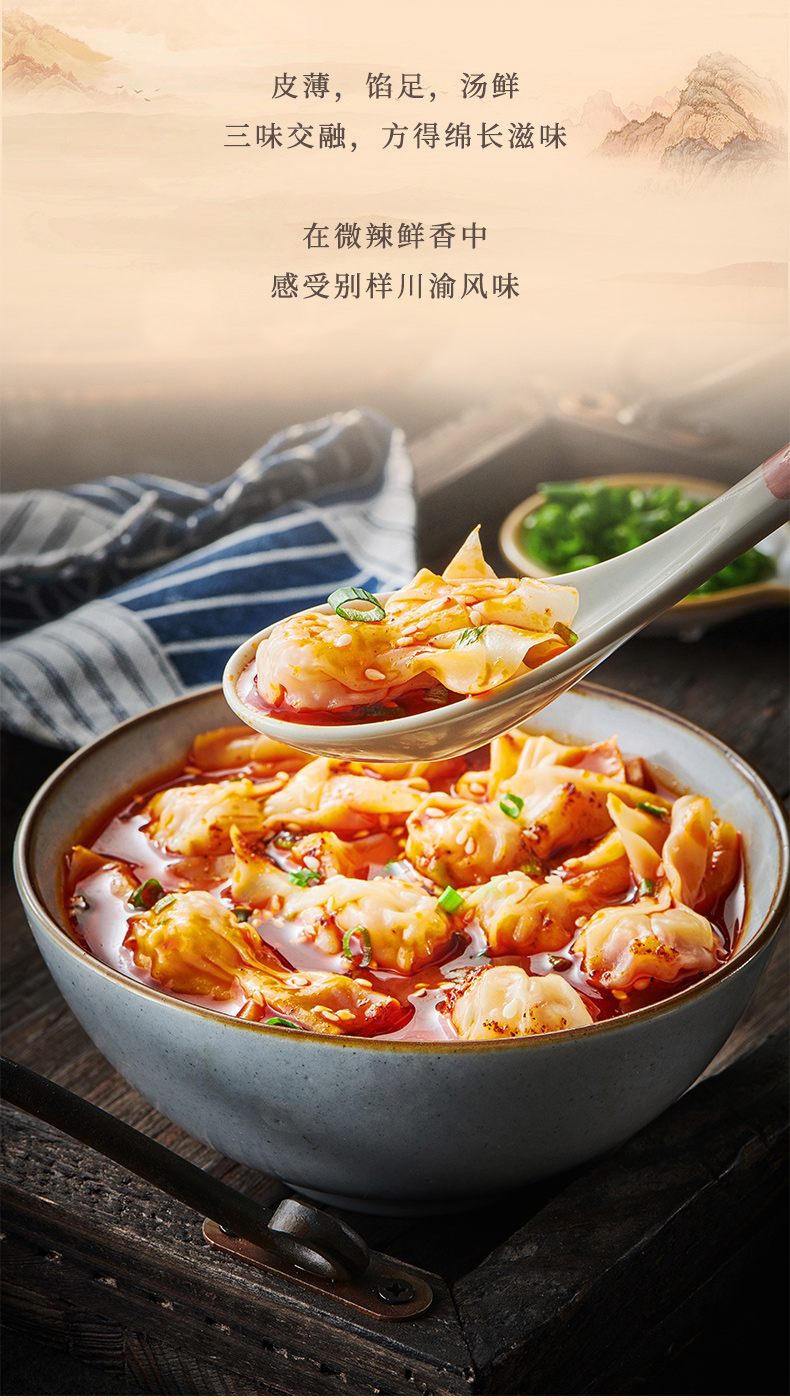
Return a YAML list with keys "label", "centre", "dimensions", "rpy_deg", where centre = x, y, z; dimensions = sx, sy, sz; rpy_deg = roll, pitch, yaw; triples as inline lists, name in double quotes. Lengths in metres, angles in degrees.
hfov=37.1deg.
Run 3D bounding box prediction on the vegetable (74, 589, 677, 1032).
- label: "vegetable"
  centre: [-0.006, -0.006, 1.282]
  dimensions: [0.533, 0.171, 0.547]
  rpy_deg: [16, 25, 42]
